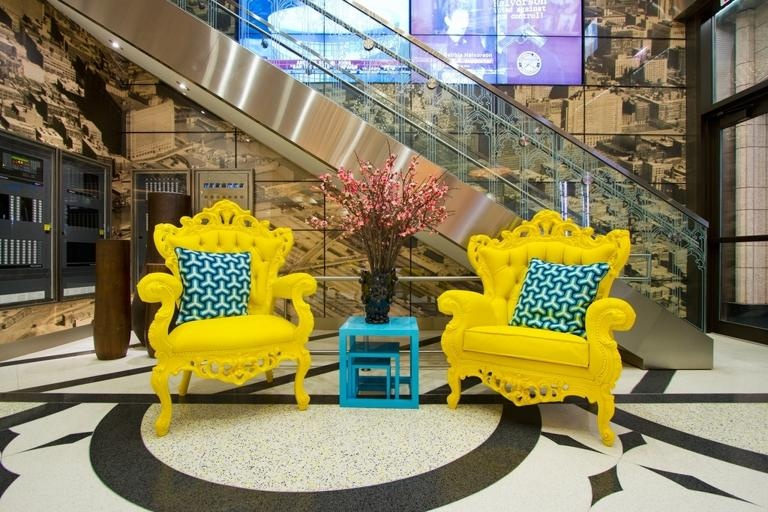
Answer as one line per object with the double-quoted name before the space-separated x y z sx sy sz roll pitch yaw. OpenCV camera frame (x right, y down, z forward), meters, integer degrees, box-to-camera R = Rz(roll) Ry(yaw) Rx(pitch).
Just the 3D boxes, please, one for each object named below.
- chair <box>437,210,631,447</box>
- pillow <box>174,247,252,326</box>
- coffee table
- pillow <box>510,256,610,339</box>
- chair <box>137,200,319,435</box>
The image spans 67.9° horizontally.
"chair" 1.507 0.755 5.491 2.040 2.240 1.177 1 -6 22
"pillow" -1.671 0.281 5.687 0.771 0.726 0.290 -1 1 -34
"coffee table" -0.056 1.054 5.917 0.842 0.835 0.826 0 6 2
"pillow" 1.686 0.410 5.588 0.435 0.710 0.828 3 2 -45
"chair" -1.556 0.529 5.588 1.544 2.198 0.702 0 0 -15
